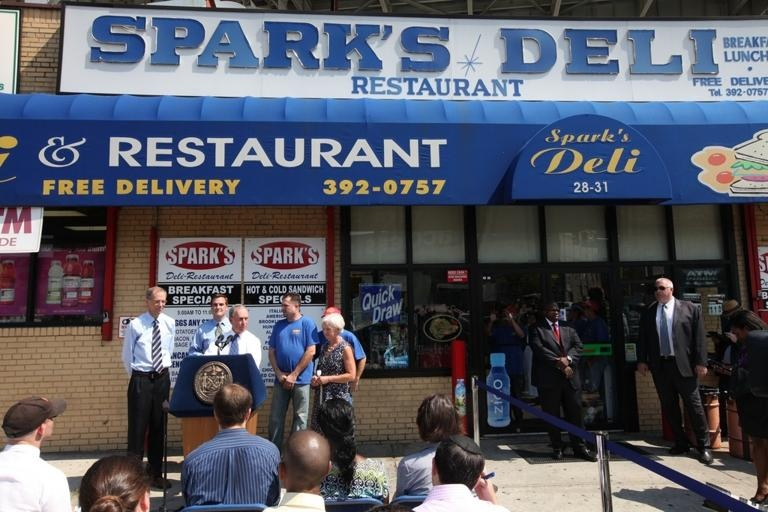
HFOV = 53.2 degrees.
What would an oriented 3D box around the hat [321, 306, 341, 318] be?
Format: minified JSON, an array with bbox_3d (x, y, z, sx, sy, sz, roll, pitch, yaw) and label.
[{"bbox_3d":[-0.832,0.815,11.565,0.274,0.147,0.208,-7,-9,37],"label":"hat"}]

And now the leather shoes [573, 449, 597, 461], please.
[{"bbox_3d":[3.196,3.128,12.123,0.348,0.185,0.243,1,-6,-29],"label":"leather shoes"}]

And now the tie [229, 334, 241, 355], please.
[{"bbox_3d":[-2.248,1.303,11.479,0.251,0.244,0.063,-2,-18,8],"label":"tie"}]

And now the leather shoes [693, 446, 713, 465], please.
[{"bbox_3d":[4.940,3.075,11.903,0.274,0.241,0.353,-4,-6,25],"label":"leather shoes"}]

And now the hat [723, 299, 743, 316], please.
[{"bbox_3d":[5.622,0.822,12.521,0.300,0.222,0.208,0,-24,-44],"label":"hat"}]

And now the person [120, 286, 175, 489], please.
[{"bbox_3d":[-3.489,1.924,11.346,0.717,2.918,0.458,1,-6,-20],"label":"person"}]

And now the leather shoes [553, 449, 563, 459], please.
[{"bbox_3d":[2.732,3.112,12.133,0.208,0.146,0.141,-1,-5,-9],"label":"leather shoes"}]

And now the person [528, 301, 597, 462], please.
[{"bbox_3d":[2.797,1.980,12.306,0.913,2.502,0.546,-2,-6,8],"label":"person"}]

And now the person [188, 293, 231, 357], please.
[{"bbox_3d":[-2.713,1.089,11.861,0.743,1.110,0.344,9,-21,-17],"label":"person"}]

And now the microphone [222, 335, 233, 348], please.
[{"bbox_3d":[-2.338,1.250,11.474,0.074,0.251,0.073,39,-32,11],"label":"microphone"}]

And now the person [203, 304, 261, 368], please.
[{"bbox_3d":[-2.261,1.183,11.402,0.796,0.922,0.457,-1,-6,-4],"label":"person"}]

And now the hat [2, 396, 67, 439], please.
[{"bbox_3d":[-3.915,1.775,8.669,0.425,0.277,0.687,26,28,29],"label":"hat"}]

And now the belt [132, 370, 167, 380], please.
[{"bbox_3d":[-3.472,1.742,11.373,0.511,0.153,0.085,0,-6,-20],"label":"belt"}]
